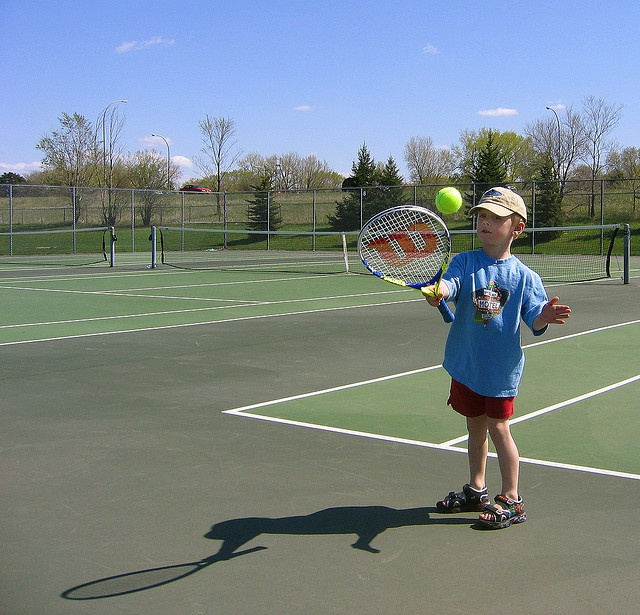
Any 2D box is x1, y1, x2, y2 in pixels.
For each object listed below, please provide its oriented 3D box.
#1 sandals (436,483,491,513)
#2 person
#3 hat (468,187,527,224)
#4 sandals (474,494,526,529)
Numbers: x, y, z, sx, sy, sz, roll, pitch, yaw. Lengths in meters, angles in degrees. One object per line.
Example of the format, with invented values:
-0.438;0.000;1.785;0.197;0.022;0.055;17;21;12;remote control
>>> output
0.732;0.972;3.339;0.257;0.115;0.121;0;-6;-5;sandals
0.871;0.219;3.236;0.649;1.626;0.574;1;6;11;person
0.889;-0.498;3.226;0.250;0.130;0.175;20;-10;-31;hat
0.862;0.972;3.123;0.262;0.114;0.114;4;-10;-36;sandals
